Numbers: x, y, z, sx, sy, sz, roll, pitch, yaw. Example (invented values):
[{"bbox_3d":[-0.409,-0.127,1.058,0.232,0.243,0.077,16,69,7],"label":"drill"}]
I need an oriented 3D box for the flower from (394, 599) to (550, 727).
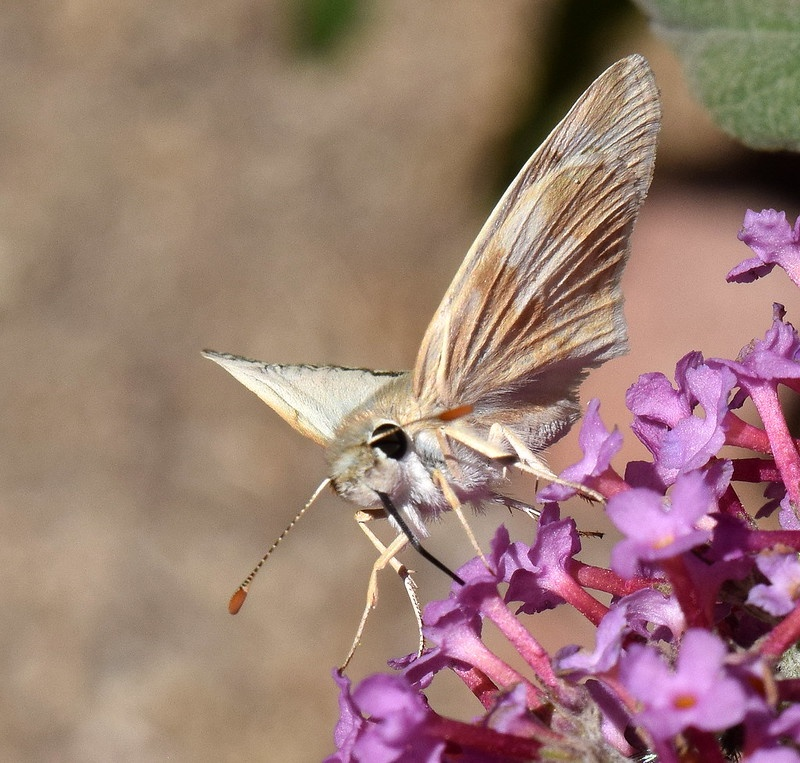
[{"bbox_3d":[0.114,0.336,1.678,0.170,0.176,0.086,34,93,16],"label":"flower"}]

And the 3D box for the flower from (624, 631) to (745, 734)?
[{"bbox_3d":[0.318,0.345,1.381,0.126,0.133,0.039,0,88,38],"label":"flower"}]
